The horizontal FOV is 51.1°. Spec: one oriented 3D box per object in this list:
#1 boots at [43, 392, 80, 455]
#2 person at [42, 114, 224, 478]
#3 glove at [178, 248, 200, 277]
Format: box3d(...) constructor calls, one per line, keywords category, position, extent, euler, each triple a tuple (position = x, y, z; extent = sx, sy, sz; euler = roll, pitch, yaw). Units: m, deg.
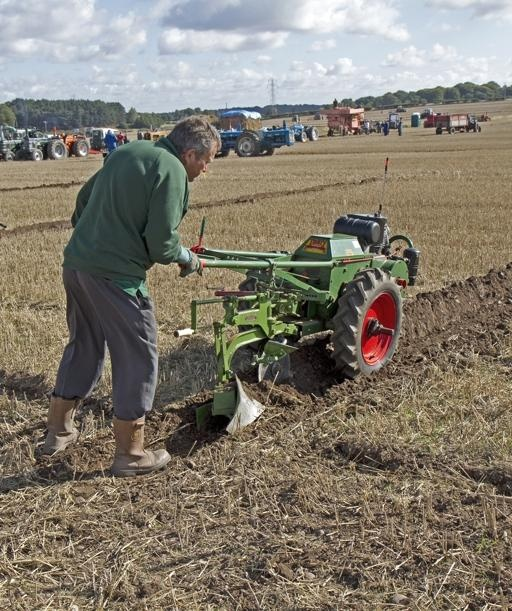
box3d(category="boots", position=(-1.228, 0.760, 3.445), extent=(0.163, 0.362, 0.397), euler=(9, -1, 2))
box3d(category="person", position=(-0.761, -0.002, 3.066), extent=(0.995, 2.004, 0.551), euler=(2, 14, 27))
box3d(category="glove", position=(-0.382, -0.238, 3.010), extent=(0.173, 0.061, 0.123), euler=(13, 19, -23))
